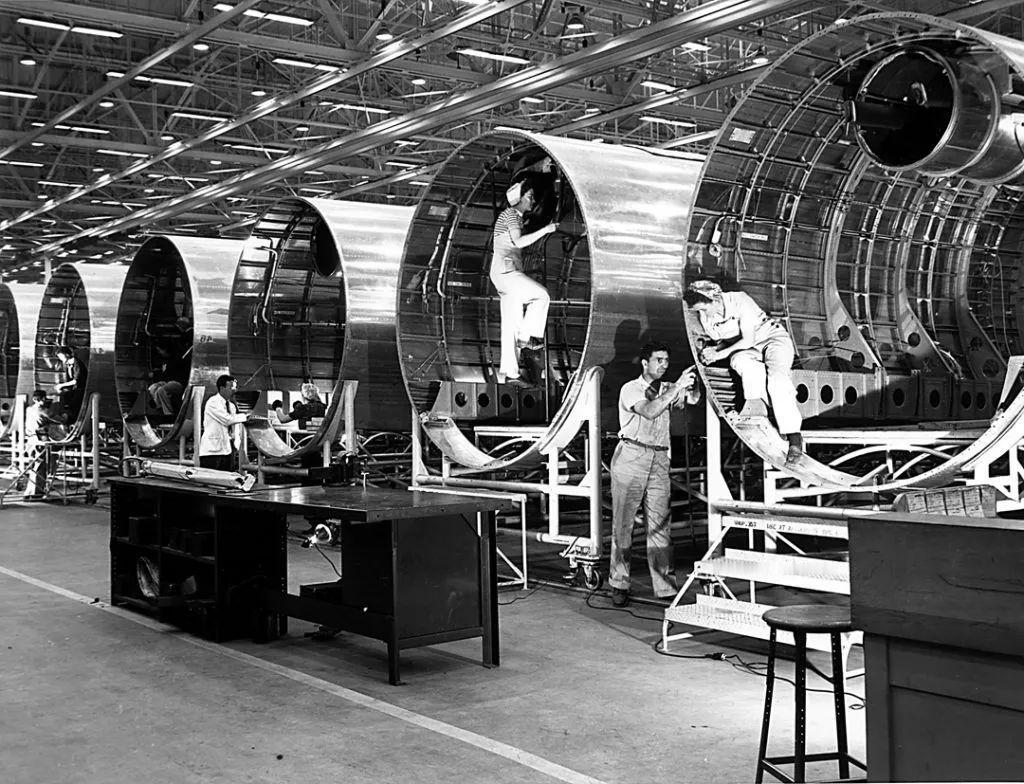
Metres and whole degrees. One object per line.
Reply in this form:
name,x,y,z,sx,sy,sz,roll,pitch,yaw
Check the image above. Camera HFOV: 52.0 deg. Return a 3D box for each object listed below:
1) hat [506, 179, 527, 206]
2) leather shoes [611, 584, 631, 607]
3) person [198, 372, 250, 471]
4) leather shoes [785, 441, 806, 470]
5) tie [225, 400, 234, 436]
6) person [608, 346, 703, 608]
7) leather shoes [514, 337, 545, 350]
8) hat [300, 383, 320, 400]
hat,0.041,-2.184,11.445,0.180,0.297,0.231,-1,3,2
leather shoes,0.937,1.780,9.179,0.168,0.168,0.163,3,4,24
person,-3.958,0.433,14.315,0.645,1.383,2.091,-2,3,-15
leather shoes,2.220,0.496,8.233,0.177,0.215,0.578,-2,-6,27
tie,-3.731,0.305,13.781,0.121,0.484,0.140,-1,-3,1
person,1.257,0.716,9.375,0.785,2.244,1.004,-1,3,9
leather shoes,0.243,-0.570,12.607,0.213,0.104,0.289,-5,-7,36
hat,-2.735,-0.056,14.241,0.213,0.262,0.265,11,-15,-8
